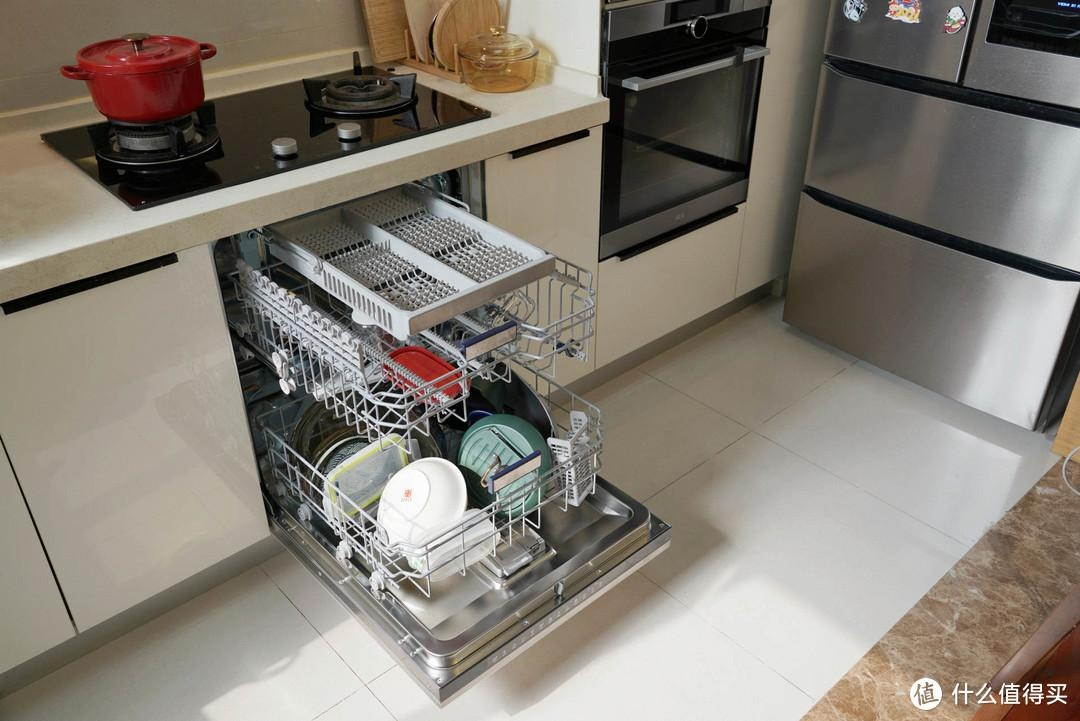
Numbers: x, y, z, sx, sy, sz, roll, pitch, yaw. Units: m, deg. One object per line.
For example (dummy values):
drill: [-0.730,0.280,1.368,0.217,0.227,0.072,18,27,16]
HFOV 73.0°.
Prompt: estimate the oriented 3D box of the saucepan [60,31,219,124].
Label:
saucepan: [-0.984,-0.705,1.813,0.326,0.171,0.243,-28,51,-31]

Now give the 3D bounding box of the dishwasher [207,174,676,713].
dishwasher: [-0.280,0.096,1.893,0.792,0.708,1.106,-22,41,-40]

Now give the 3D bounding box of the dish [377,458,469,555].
dish: [-0.275,0.335,1.701,0.215,0.110,0.172,-19,45,-15]

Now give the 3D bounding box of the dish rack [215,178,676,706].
dish rack: [-0.256,0.196,1.951,0.928,0.830,1.333,-27,49,-30]

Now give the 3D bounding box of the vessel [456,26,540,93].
vessel: [-0.128,-0.905,2.323,0.217,0.149,0.219,-27,50,-24]
